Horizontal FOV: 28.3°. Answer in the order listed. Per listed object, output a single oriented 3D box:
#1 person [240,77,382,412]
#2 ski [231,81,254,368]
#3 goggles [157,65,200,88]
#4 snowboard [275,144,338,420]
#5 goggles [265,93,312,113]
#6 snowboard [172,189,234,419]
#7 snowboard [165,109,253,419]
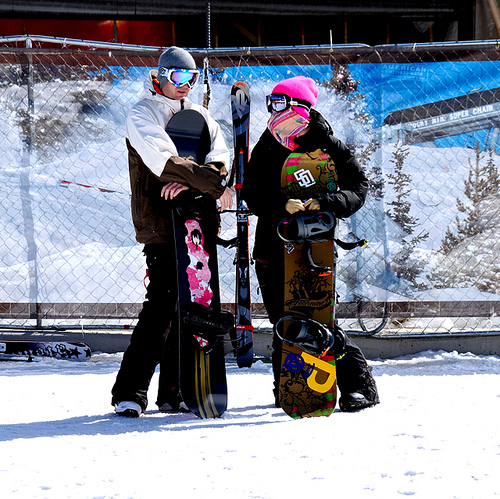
[{"bbox_3d":[0.297,-0.080,5.373,0.634,2.119,0.441,4,-31,-8],"label":"person"},{"bbox_3d":[-0.048,-0.187,6.284,0.179,1.565,0.087,1,0,-10],"label":"ski"},{"bbox_3d":[-0.375,-0.942,5.456,0.140,0.071,0.161,4,10,-37],"label":"goggles"},{"bbox_3d":[0.310,0.166,5.387,0.323,1.478,0.228,0,1,5],"label":"snowboard"},{"bbox_3d":[0.202,-0.798,5.467,0.169,0.058,0.136,7,6,-6],"label":"goggles"},{"bbox_3d":[-0.262,0.298,5.417,0.334,1.235,0.223,0,1,-17],"label":"snowboard"},{"bbox_3d":[-0.264,0.076,5.442,0.364,1.678,0.301,0,1,-23],"label":"snowboard"}]
